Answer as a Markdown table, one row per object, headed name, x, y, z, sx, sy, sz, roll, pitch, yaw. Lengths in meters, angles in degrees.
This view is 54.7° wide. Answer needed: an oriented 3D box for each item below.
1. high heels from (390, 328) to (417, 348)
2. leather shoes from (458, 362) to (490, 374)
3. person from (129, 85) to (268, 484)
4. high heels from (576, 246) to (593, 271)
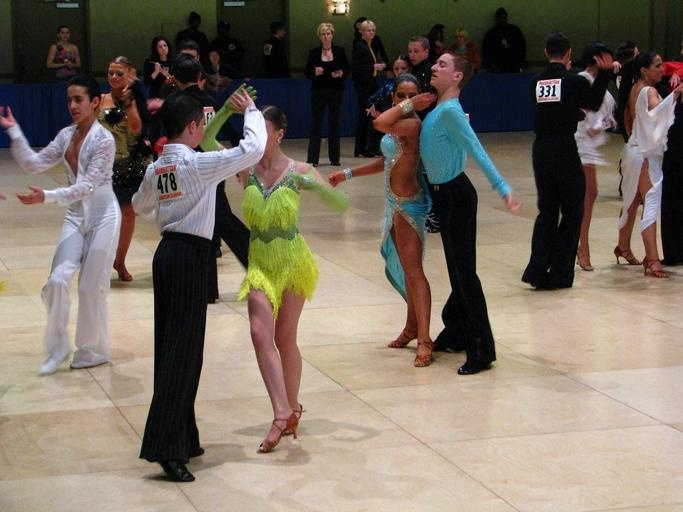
| name | x | y | z | sx | sy | sz | roll | pitch | yaw |
| --- | --- | --- | --- | --- | --- | --- | --- | --- | --- |
| high heels | 0.478 | 0.696 | 5.597 | 0.296 | 0.115 | 0.106 | -8 | 3 | 17 |
| leather shoes | 0.991 | 0.840 | 5.018 | 0.268 | 0.104 | 0.094 | -1 | 4 | -19 |
| person | -0.730 | 0.150 | 3.524 | 0.706 | 1.979 | 0.669 | -2 | 13 | -6 |
| high heels | 2.948 | 0.046 | 7.907 | 0.126 | 0.126 | 0.329 | -4 | 21 | -1 |
